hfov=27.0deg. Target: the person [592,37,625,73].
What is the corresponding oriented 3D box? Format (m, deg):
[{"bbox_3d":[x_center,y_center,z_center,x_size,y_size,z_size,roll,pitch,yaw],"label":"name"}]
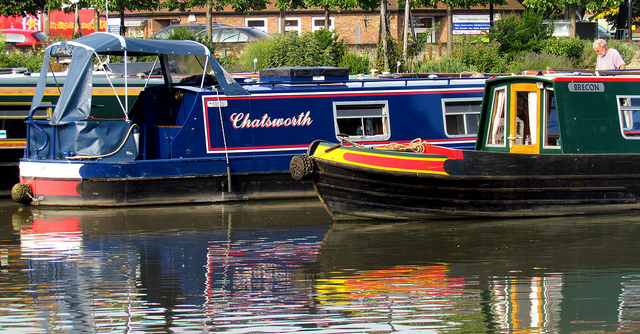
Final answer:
[{"bbox_3d":[9.525,-3.741,43.906,0.721,0.981,1.063,-8,8,-33],"label":"person"}]
